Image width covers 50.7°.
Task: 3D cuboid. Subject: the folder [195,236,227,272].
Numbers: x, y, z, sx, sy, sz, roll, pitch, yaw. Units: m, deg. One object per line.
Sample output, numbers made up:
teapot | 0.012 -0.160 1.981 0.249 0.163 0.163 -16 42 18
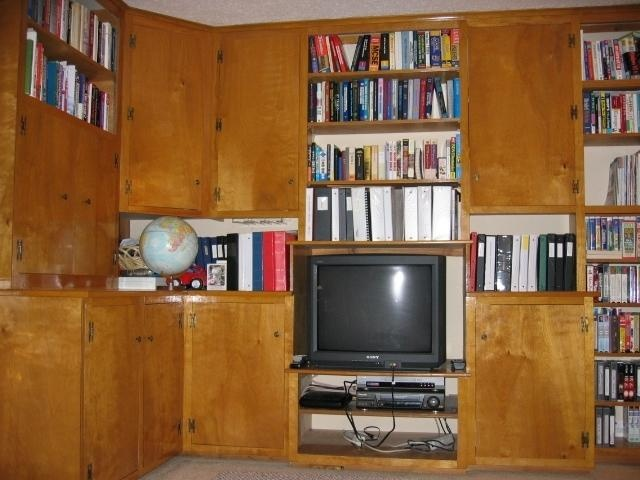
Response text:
folder | -0.727 0.094 4.783 0.272 0.277 0.205 -1 -6 1

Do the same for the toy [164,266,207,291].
toy | -0.914 0.266 4.633 0.249 0.163 0.137 -1 -1 11

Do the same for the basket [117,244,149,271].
basket | -1.281 0.118 4.585 0.145 0.082 0.185 3 -15 -14

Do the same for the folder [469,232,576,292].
folder | 1.322 0.142 4.355 0.647 0.439 0.368 1 -1 5

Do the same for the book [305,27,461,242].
book | 0.427 -0.696 4.507 0.962 1.412 0.398 5 -1 7

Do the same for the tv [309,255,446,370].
tv | 0.346 0.464 4.364 0.835 0.733 0.092 0 -5 6
